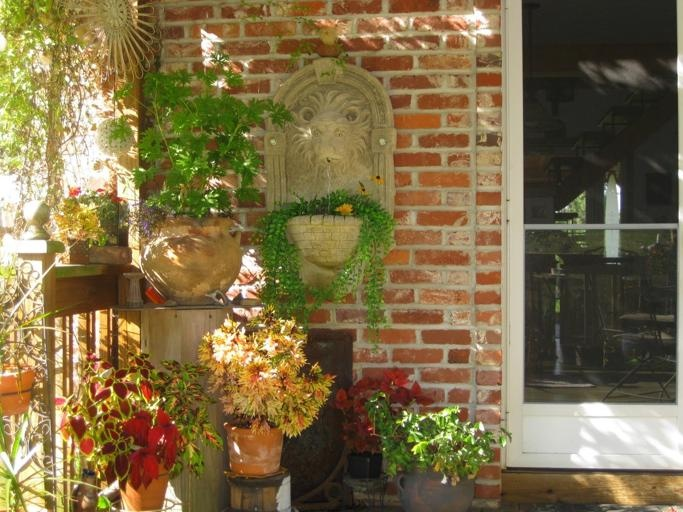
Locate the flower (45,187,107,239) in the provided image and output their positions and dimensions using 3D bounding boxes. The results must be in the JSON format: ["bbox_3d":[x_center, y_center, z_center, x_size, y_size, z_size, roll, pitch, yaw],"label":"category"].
[{"bbox_3d":[-1.127,-0.185,3.415,0.211,0.236,0.199,-7,11,27],"label":"flower"}]

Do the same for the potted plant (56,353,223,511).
[{"bbox_3d":[-0.770,0.709,3.230,0.552,0.543,0.618,-2,-11,7],"label":"potted plant"}]

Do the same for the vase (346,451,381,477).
[{"bbox_3d":[0.092,0.923,3.516,0.126,0.082,0.108,-2,-6,20],"label":"vase"}]

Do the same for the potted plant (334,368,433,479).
[{"bbox_3d":[0.179,0.756,3.589,0.384,0.508,0.486,25,-29,-32],"label":"potted plant"}]

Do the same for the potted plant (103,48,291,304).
[{"bbox_3d":[-0.627,-0.393,3.538,0.772,1.187,0.533,1,2,-7],"label":"potted plant"}]

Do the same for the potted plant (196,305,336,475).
[{"bbox_3d":[-0.322,0.561,3.201,0.493,0.672,0.290,2,2,28],"label":"potted plant"}]

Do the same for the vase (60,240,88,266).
[{"bbox_3d":[-1.158,-0.017,3.404,0.099,0.147,0.102,3,2,-5],"label":"vase"}]
